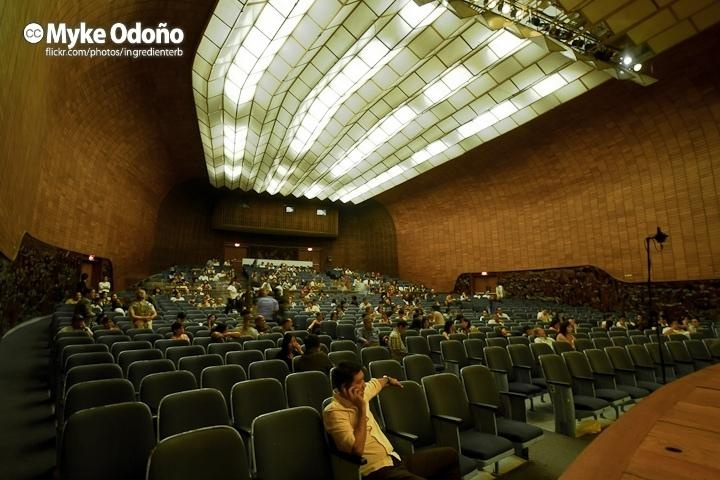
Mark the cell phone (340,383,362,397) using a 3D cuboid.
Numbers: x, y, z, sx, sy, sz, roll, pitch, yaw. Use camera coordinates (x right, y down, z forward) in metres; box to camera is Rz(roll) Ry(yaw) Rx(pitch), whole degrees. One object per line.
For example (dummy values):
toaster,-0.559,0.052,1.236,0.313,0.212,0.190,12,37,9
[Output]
cell phone,-0.109,2.019,5.641,0.215,0.100,0.162,-31,-8,16
